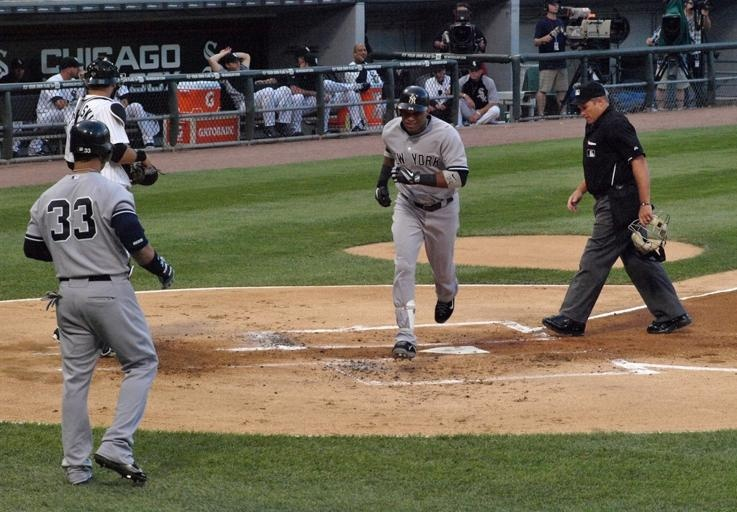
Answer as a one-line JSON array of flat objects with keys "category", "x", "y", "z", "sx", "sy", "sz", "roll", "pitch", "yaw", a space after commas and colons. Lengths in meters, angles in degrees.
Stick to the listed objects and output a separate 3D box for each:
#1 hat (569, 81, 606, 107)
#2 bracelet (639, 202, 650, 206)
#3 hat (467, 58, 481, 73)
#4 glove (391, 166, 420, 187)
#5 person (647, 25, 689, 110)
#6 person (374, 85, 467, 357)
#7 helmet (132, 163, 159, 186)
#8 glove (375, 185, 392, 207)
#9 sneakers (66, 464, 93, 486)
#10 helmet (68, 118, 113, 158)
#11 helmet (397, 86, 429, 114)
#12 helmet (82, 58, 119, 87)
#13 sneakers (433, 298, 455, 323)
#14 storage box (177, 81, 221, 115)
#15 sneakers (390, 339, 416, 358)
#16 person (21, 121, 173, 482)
[{"category": "hat", "x": 2.107, "y": -1.565, "z": 12.923, "sx": 0.312, "sy": 0.231, "sz": 0.394, "roll": 0, "pitch": 6, "yaw": 7}, {"category": "bracelet", "x": 2.592, "y": -0.495, "z": 12.651, "sx": 0.082, "sy": 0.034, "sz": 0.059, "roll": 1, "pitch": 6, "yaw": 15}, {"category": "hat", "x": 1.941, "y": -3.454, "z": 24.553, "sx": 0.214, "sy": 0.110, "sz": 0.290, "roll": 4, "pitch": 43, "yaw": 16}, {"category": "glove", "x": 0.316, "y": -0.746, "z": 12.444, "sx": 0.241, "sy": 0.140, "sz": 0.119, "roll": 27, "pitch": 36, "yaw": 26}, {"category": "person", "x": 5.904, "y": -3.781, "z": 26.382, "sx": 0.949, "sy": 1.880, "sz": 0.566, "roll": 4, "pitch": -29, "yaw": 7}, {"category": "person", "x": 0.494, "y": -0.343, "z": 12.773, "sx": 0.838, "sy": 2.516, "sz": 0.983, "roll": -1, "pitch": 6, "yaw": -1}, {"category": "helmet", "x": -2.108, "y": -0.766, "z": 12.496, "sx": 0.170, "sy": 0.146, "sz": 0.218, "roll": -2, "pitch": 16, "yaw": -16}, {"category": "glove", "x": 0.138, "y": -0.585, "z": 13.021, "sx": 0.102, "sy": 0.193, "sz": 0.152, "roll": -7, "pitch": -24, "yaw": 15}, {"category": "sneakers", "x": -2.229, "y": 1.664, "z": 10.317, "sx": 0.199, "sy": 0.146, "sz": 0.116, "roll": -3, "pitch": 6, "yaw": -14}, {"category": "helmet", "x": -2.242, "y": -0.911, "z": 10.618, "sx": 0.413, "sy": 0.270, "sz": 0.400, "roll": 2, "pitch": 6, "yaw": 26}, {"category": "helmet", "x": 0.407, "y": -1.460, "z": 12.513, "sx": 0.283, "sy": 0.237, "sz": 0.220, "roll": -1, "pitch": 6, "yaw": -2}, {"category": "helmet", "x": -2.489, "y": -1.672, "z": 12.255, "sx": 0.267, "sy": 0.259, "sz": 0.309, "roll": 7, "pitch": 29, "yaw": 9}, {"category": "sneakers", "x": 0.739, "y": 0.537, "z": 13.220, "sx": 0.125, "sy": 0.296, "sz": 0.121, "roll": 7, "pitch": -30, "yaw": -1}, {"category": "storage box", "x": -2.681, "y": -2.667, "z": 22.432, "sx": 0.917, "sy": 0.536, "sz": 0.543, "roll": 5, "pitch": 17, "yaw": 36}, {"category": "sneakers", "x": 0.323, "y": 0.858, "z": 12.475, "sx": 0.170, "sy": 0.126, "sz": 0.325, "roll": 0, "pitch": -7, "yaw": 5}, {"category": "person", "x": -2.110, "y": 0.340, "z": 10.422, "sx": 1.025, "sy": 2.763, "sz": 0.696, "roll": -1, "pitch": 6, "yaw": -2}]
